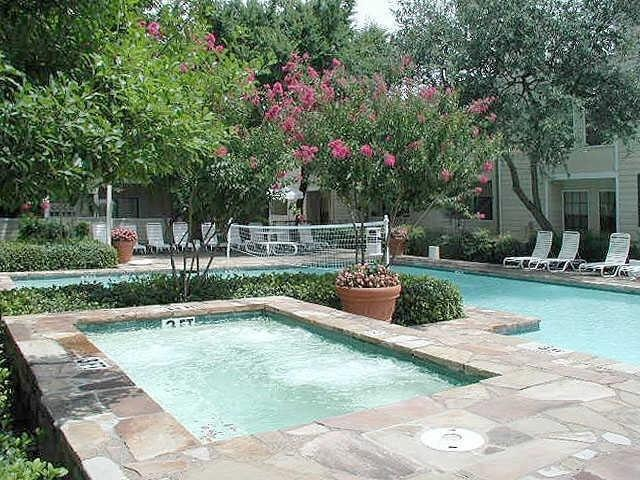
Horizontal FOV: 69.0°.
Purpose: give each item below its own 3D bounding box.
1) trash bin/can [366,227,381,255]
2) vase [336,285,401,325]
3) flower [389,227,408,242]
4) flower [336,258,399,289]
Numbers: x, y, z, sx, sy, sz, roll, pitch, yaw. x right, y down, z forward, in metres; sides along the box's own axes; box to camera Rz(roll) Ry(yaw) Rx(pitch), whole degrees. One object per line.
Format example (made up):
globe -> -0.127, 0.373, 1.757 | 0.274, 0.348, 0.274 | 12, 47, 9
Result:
trash bin/can -> 1.732, 0.021, 15.193 | 0.518, 0.820, 0.516 | 1, 5, 13
vase -> 1.024, 1.250, 8.766 | 1.093, 0.743, 1.072 | -7, -2, 34
flower -> 3.371, -0.283, 19.946 | 0.554, 0.499, 1.042 | 2, 3, 20
flower -> 0.865, 0.663, 8.659 | 1.102, 0.401, 0.976 | -1, 3, -22
